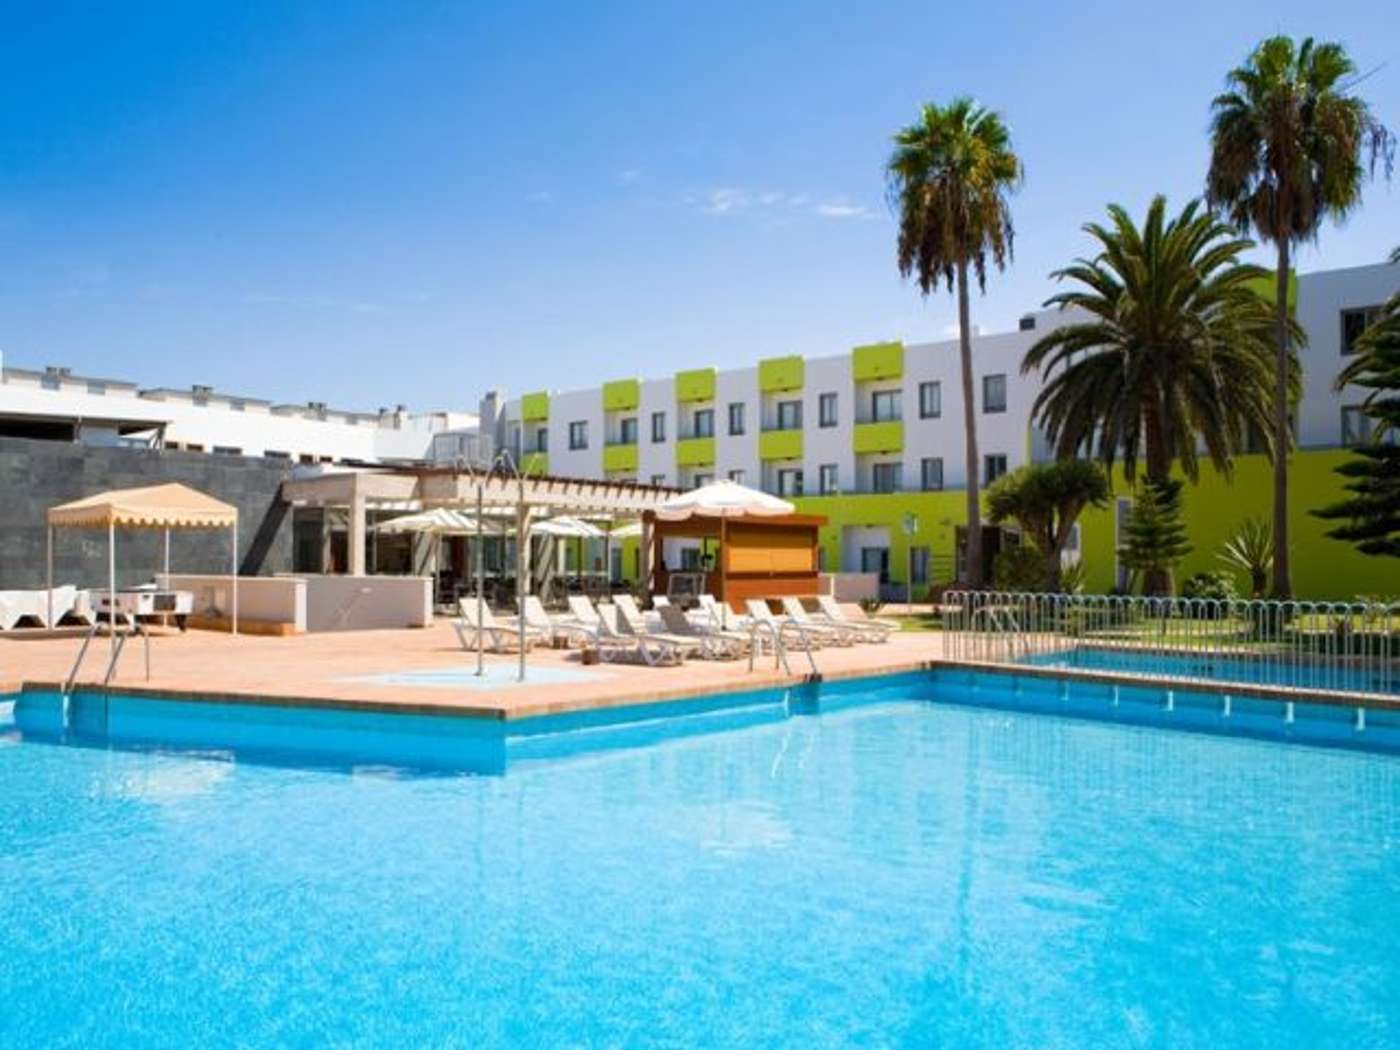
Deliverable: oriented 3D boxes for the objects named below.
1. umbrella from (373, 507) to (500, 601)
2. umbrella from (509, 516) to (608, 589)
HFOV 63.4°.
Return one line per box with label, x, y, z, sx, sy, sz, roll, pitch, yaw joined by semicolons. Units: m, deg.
umbrella;-6.667;0.432;28.671;2.624;2.132;2.716;-2;1;19
umbrella;-3.902;1.218;32.090;2.241;1.831;2.420;2;7;13
